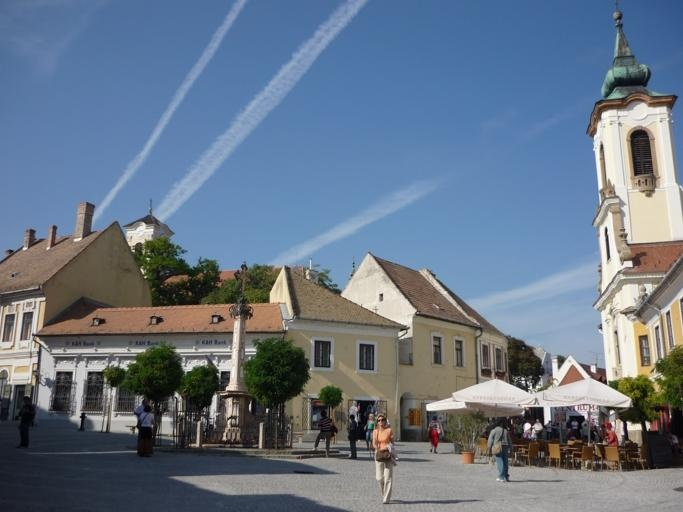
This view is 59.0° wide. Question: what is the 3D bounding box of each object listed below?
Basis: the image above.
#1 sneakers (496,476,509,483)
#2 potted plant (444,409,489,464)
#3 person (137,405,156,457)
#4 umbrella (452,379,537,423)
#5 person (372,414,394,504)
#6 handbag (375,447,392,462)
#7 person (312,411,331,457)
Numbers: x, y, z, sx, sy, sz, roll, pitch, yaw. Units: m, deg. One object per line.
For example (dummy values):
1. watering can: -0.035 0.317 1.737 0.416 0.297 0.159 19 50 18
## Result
1. sneakers: 5.102 7.091 19.200 0.157 0.191 0.433 5 -4 -13
2. potted plant: 5.613 8.149 27.617 1.885 2.454 1.836 2 -26 0
3. person: -7.057 6.192 21.636 0.541 1.871 0.825 2 -18 -9
4. umbrella: 6.500 5.955 25.856 2.412 1.249 2.419 3 -11 -4
5. person: 1.106 5.133 15.348 0.509 2.121 0.849 0 -18 -3
6. handbag: 1.063 5.039 15.295 0.413 0.320 0.208 -3 -18 6
7. person: -0.764 7.072 24.521 0.708 1.871 0.516 5 13 11
